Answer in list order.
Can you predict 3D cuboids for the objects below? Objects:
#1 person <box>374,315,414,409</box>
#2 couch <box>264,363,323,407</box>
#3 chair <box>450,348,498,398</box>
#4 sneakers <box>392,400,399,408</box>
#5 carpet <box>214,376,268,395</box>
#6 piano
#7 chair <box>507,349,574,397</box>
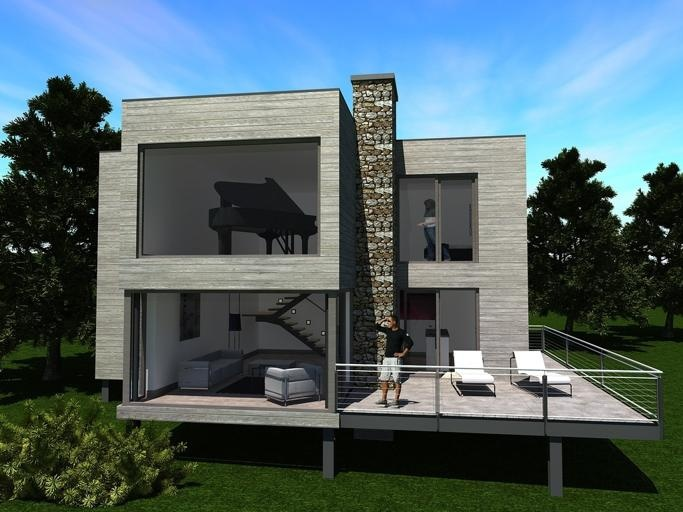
[{"bbox_3d":[1.427,2.903,16.499,1.354,2.442,0.584,-9,-17,35],"label":"person"},{"bbox_3d":[-1.448,3.732,17.539,1.405,0.751,0.996,4,-6,-39],"label":"couch"},{"bbox_3d":[3.950,3.558,17.938,1.322,1.074,2.803,1,5,10],"label":"chair"},{"bbox_3d":[1.486,4.111,16.471,0.165,0.150,0.384,-2,-10,7],"label":"sneakers"},{"bbox_3d":[-3.122,4.142,18.811,1.385,0.120,2.149,0,5,-4],"label":"carpet"},{"bbox_3d":[-3.034,-1.065,21.014,3.880,2.362,1.904,3,-10,-37],"label":"piano"},{"bbox_3d":[5.999,3.526,17.942,1.141,0.872,1.940,-1,3,-8],"label":"chair"}]
